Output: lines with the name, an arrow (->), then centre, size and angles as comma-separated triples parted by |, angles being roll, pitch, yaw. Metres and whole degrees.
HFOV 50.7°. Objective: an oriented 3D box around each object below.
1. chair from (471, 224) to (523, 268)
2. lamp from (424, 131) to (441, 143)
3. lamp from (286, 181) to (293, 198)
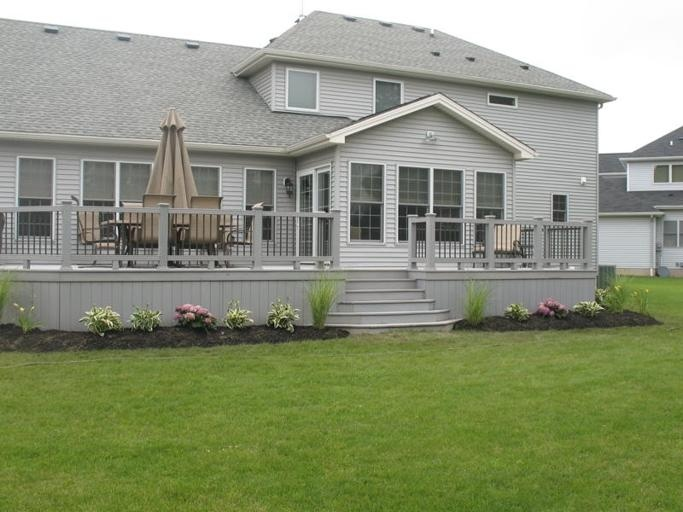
chair -> 3.687, -0.263, 16.686 | 0.998, 0.648, 0.994 | 2, 5, 20
lamp -> 2.256, -2.958, 18.108 | 0.420, 0.313, 0.187 | -7, 13, -32
lamp -> -1.399, -1.770, 19.241 | 0.213, 0.498, 0.201 | -1, 11, -5
